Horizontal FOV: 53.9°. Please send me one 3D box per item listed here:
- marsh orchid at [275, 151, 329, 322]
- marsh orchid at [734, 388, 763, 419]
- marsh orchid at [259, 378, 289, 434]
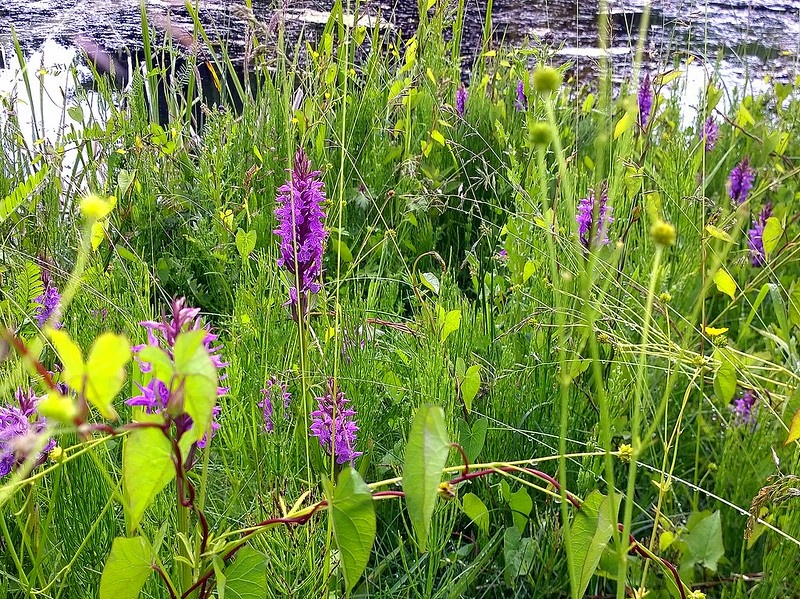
[{"bbox_3d":[-0.203,-0.135,1.614,0.106,0.319,0.401,-1,24,-8],"label":"marsh orchid"},{"bbox_3d":[0.798,0.238,1.791,0.040,0.097,0.045,-22,47,-12],"label":"marsh orchid"},{"bbox_3d":[-0.259,0.221,1.618,0.074,0.138,0.091,1,-13,-6],"label":"marsh orchid"}]
